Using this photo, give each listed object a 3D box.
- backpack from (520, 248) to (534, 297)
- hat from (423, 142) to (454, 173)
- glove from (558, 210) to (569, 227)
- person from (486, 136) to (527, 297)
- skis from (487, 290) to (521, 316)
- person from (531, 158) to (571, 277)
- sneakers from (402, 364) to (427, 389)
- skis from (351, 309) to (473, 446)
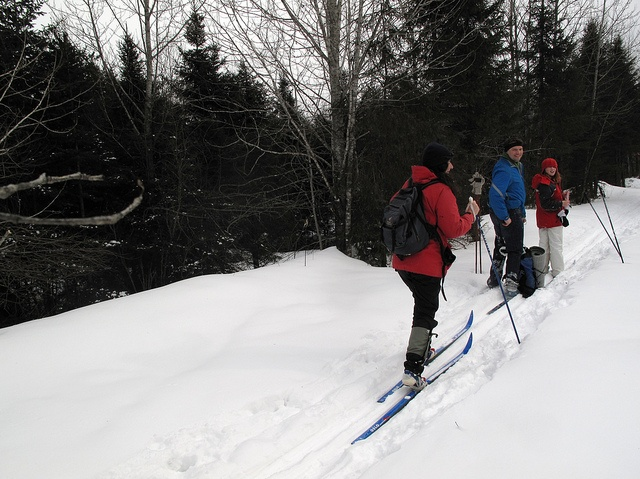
[{"bbox_3d":[3.673,0.557,8.814,0.232,0.853,0.373,0,5,39],"label":"backpack"},{"bbox_3d":[1.604,-1.180,6.985,0.392,0.430,0.352,-14,14,-31],"label":"hat"},{"bbox_3d":[4.611,-0.435,9.431,0.162,0.334,0.444,-1,5,31],"label":"glove"},{"bbox_3d":[3.326,-0.400,8.942,0.664,2.739,0.778,-2,4,18],"label":"person"},{"bbox_3d":[3.152,1.083,8.477,1.052,0.076,0.150,-23,54,-40],"label":"skis"},{"bbox_3d":[4.380,-0.284,9.387,0.617,1.977,0.658,-2,4,15],"label":"person"},{"bbox_3d":[1.234,1.859,6.713,0.147,0.224,0.463,-4,-30,45],"label":"sneakers"},{"bbox_3d":[1.272,1.950,6.866,2.281,0.252,0.234,-43,11,-32],"label":"skis"}]
